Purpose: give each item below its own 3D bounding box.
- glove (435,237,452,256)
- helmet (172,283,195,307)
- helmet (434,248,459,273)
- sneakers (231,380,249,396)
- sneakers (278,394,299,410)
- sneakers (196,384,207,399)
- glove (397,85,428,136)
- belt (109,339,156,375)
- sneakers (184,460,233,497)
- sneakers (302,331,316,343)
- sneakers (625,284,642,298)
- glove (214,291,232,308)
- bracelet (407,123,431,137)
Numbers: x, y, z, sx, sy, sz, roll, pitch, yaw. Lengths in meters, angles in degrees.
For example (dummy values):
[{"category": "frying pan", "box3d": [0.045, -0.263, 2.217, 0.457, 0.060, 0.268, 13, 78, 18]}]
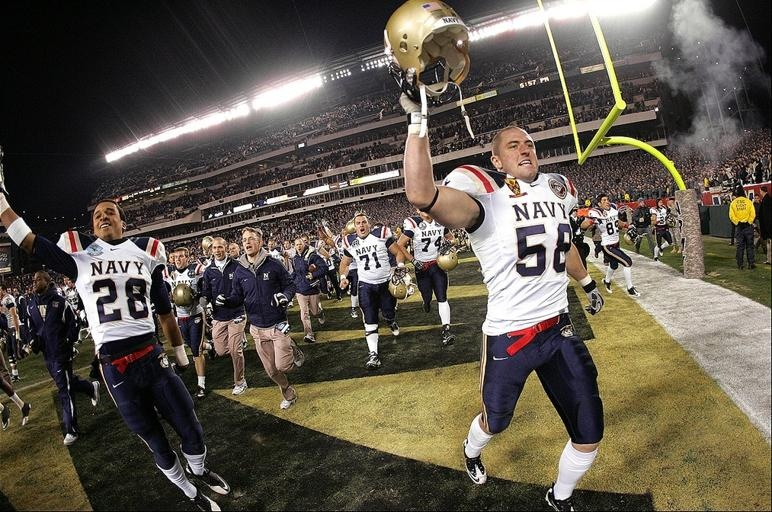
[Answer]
[{"category": "glove", "box3d": [1.221, -0.192, 8.340, 0.273, 0.139, 0.387, 19, 34, 37]}, {"category": "helmet", "box3d": [-3.695, 0.721, 7.149, 0.346, 0.438, 0.427, 0, -9, -6]}, {"category": "helmet", "box3d": [1.276, 0.050, 8.145, 0.383, 0.497, 0.449, -3, -26, -37]}, {"category": "sneakers", "box3d": [-2.639, 2.405, 7.103, 0.130, 0.151, 0.351, -8, -17, 9]}, {"category": "sneakers", "box3d": [-1.574, 2.360, 6.317, 0.129, 0.133, 0.298, -9, -3, 25]}, {"category": "sneakers", "box3d": [-3.409, 2.461, 7.093, 0.157, 0.254, 0.253, -2, -18, 1]}, {"category": "glove", "box3d": [0.257, -1.210, 3.324, 0.274, 0.360, 0.189, -17, 14, -29]}, {"category": "belt", "box3d": [-2.860, 1.146, 4.464, 0.375, 0.097, 0.287, -37, 4, -33]}, {"category": "sneakers", "box3d": [-2.156, 2.729, 4.776, 0.668, 0.224, 0.267, 26, -16, 6]}, {"category": "sneakers", "box3d": [-1.818, 1.951, 9.261, 0.145, 0.171, 0.367, -1, -16, 7]}, {"category": "sneakers", "box3d": [5.461, 0.810, 8.742, 0.155, 0.186, 0.429, -12, 0, -20]}, {"category": "glove", "box3d": [-2.907, 0.792, 7.039, 0.245, 0.119, 0.324, -17, 23, -18]}, {"category": "bracelet", "box3d": [0.265, -1.069, 3.342, 0.133, 0.094, 0.127, -20, 27, -40]}]
